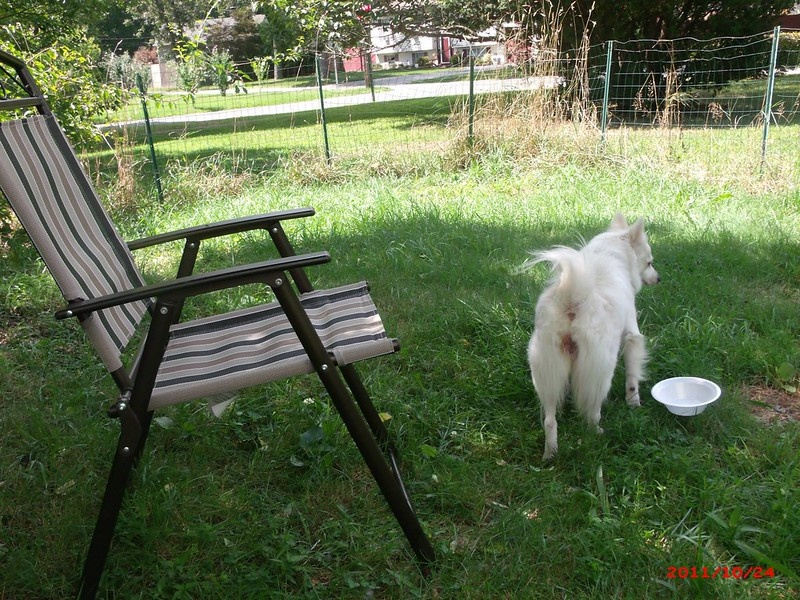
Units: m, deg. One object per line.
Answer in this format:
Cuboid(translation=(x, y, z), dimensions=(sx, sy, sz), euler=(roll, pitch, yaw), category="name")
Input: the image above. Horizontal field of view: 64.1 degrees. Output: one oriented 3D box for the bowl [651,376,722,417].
Cuboid(translation=(1.591, 0.522, 3.567), dimensions=(0.241, 0.072, 0.247), euler=(-8, 29, 5), category="bowl")
